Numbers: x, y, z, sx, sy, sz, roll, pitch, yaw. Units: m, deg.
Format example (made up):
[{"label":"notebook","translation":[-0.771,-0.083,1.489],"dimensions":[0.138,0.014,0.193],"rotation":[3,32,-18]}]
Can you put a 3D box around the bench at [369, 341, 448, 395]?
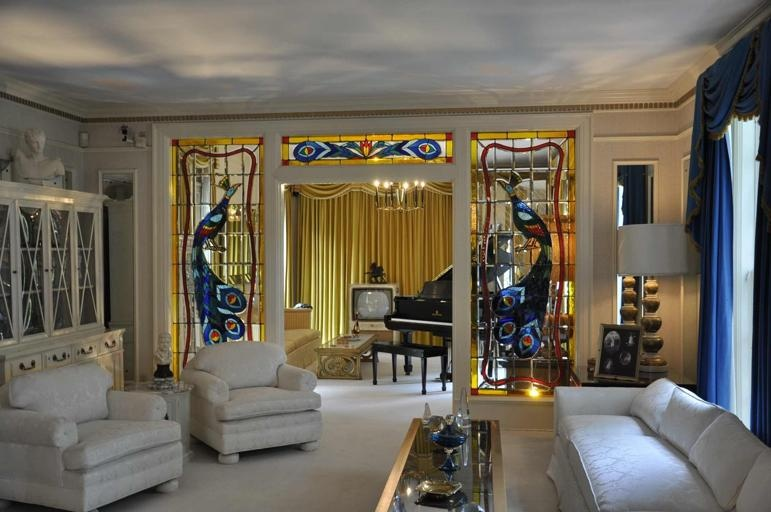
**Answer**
[{"label":"bench","translation":[0.312,1.574,8.678],"dimensions":[1.133,0.634,0.497],"rotation":[-2,-2,45]}]

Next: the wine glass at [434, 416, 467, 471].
[{"label":"wine glass","translation":[0.500,1.492,4.894],"dimensions":[0.309,0.428,0.320],"rotation":[1,-3,-6]}]

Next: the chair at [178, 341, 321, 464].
[{"label":"chair","translation":[-1.419,1.427,6.325],"dimensions":[1.187,0.991,1.119],"rotation":[1,-2,-37]}]

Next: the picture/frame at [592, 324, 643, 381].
[{"label":"picture/frame","translation":[2.334,0.973,6.142],"dimensions":[0.536,0.753,0.079],"rotation":[-1,-21,33]}]

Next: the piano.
[{"label":"piano","translation":[0.625,0.985,9.327],"dimensions":[1.408,1.744,1.738],"rotation":[0,-11,-7]}]

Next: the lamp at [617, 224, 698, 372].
[{"label":"lamp","translation":[2.806,0.403,6.337],"dimensions":[0.769,1.456,0.770],"rotation":[5,8,42]}]

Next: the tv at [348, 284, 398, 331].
[{"label":"tv","translation":[-0.213,0.869,10.932],"dimensions":[0.844,0.794,0.661],"rotation":[-1,10,-4]}]
